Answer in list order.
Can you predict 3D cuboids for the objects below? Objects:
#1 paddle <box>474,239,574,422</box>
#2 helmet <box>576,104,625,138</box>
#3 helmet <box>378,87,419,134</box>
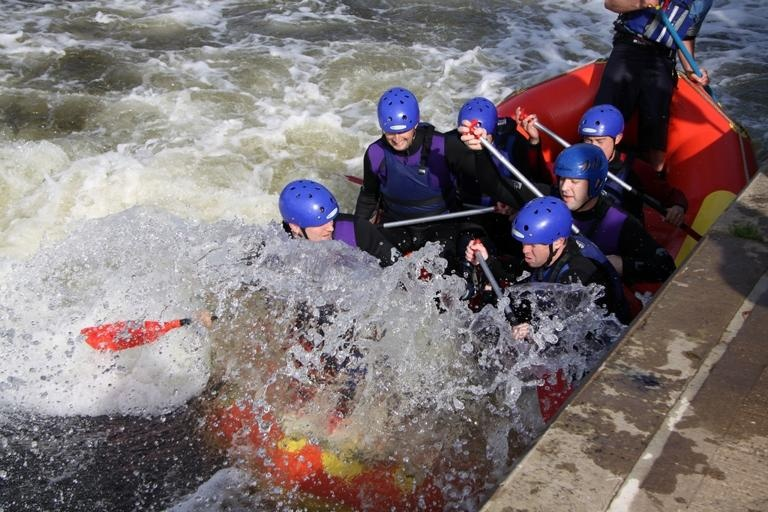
[{"bbox_3d":[1.193,0.669,6.300,0.629,0.185,1.710,-32,52,9],"label":"paddle"},{"bbox_3d":[2.429,-1.543,7.664,0.340,0.333,0.454,17,46,32],"label":"helmet"},{"bbox_3d":[0.164,-1.541,7.492,0.392,0.527,0.411,-5,77,1],"label":"helmet"}]
